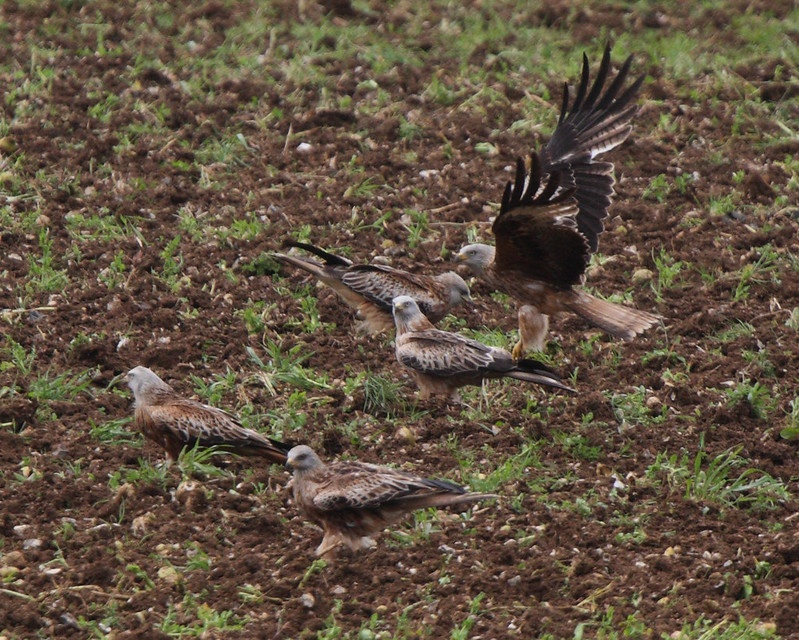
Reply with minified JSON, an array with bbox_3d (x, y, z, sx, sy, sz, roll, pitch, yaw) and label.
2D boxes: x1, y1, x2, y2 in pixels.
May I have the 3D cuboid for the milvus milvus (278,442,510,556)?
[{"bbox_3d":[-0.131,1.357,8.406,1.898,0.687,0.537,8,-4,-31],"label":"milvus milvus"}]

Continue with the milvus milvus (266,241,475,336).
[{"bbox_3d":[-0.274,-0.266,10.270,1.973,0.602,0.491,13,9,-19],"label":"milvus milvus"}]

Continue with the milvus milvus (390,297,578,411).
[{"bbox_3d":[0.661,0.299,9.389,1.682,0.745,0.470,5,10,29],"label":"milvus milvus"}]
